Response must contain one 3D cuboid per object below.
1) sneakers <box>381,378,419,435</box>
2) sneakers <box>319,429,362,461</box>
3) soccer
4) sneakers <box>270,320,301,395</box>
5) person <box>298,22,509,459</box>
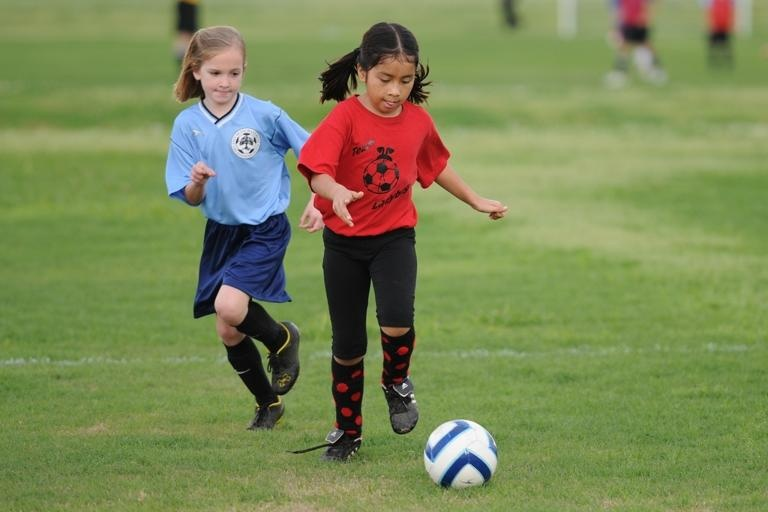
[{"bbox_3d":[0.124,1.110,8.565,0.231,0.413,0.193,-11,1,1],"label":"sneakers"},{"bbox_3d":[-0.322,1.358,8.492,0.170,0.296,0.132,43,-7,-16],"label":"sneakers"},{"bbox_3d":[0.522,1.389,8.251,0.488,0.420,0.485,-2,9,-37],"label":"soccer"},{"bbox_3d":[-0.760,0.790,8.984,0.266,0.539,0.229,3,-3,-38],"label":"sneakers"},{"bbox_3d":[-0.047,-0.117,8.461,1.170,3.100,0.840,-7,13,-20],"label":"person"}]
